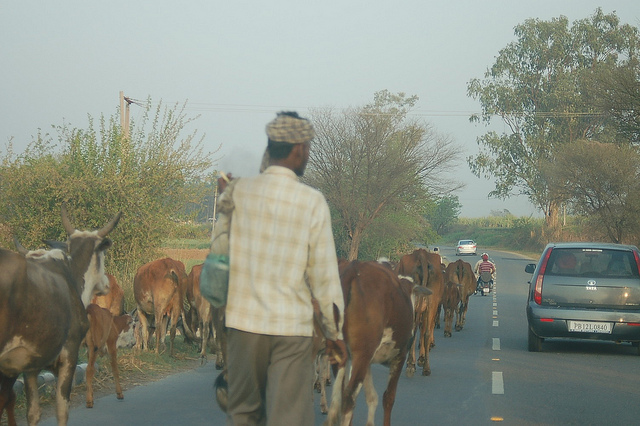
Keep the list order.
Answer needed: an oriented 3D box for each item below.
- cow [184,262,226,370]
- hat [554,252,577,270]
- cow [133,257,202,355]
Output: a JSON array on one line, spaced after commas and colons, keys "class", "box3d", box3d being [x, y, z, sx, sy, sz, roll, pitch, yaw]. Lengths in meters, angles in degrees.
[{"class": "cow", "box3d": [-3.365, 2.807, 27.480, 0.918, 2.522, 3.221, -1, 8, -11]}, {"class": "hat", "box3d": [6.990, 1.365, 27.183, 0.505, 0.518, 0.125, -1, -2, -2]}, {"class": "cow", "box3d": [-5.098, 2.685, 28.998, 1.300, 2.758, 4.693, 2, -7, -31]}]
